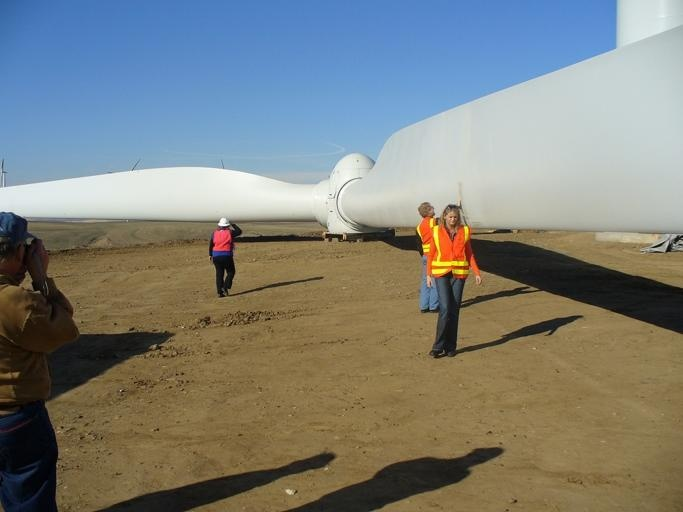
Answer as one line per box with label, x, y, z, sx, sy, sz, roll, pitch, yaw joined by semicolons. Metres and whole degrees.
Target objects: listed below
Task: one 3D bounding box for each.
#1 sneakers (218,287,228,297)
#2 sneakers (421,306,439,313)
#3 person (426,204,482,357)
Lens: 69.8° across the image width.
sneakers;-2.415;0.744;9.896;0.110;0.119;0.290;11;32;-27
sneakers;1.449;0.890;8.101;0.340;0.114;0.103;-2;1;20
person;1.342;0.338;5.995;0.631;1.899;0.464;0;11;17
